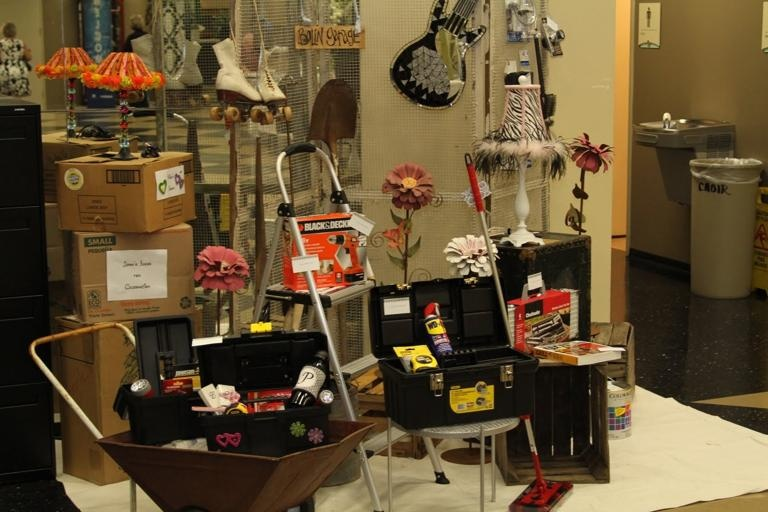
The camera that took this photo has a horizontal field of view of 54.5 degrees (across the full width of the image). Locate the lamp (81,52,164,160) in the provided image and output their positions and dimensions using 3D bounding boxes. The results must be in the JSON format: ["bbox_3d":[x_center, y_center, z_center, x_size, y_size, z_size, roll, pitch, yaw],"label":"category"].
[{"bbox_3d":[-1.608,-0.955,4.621,0.526,0.620,0.518,18,21,38],"label":"lamp"}]

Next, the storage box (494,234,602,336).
[{"bbox_3d":[0.950,0.227,4.910,0.733,0.705,0.569,-5,9,-36],"label":"storage box"}]

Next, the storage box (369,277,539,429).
[{"bbox_3d":[0.357,0.496,3.999,0.803,0.659,0.593,-6,12,-8],"label":"storage box"}]

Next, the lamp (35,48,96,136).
[{"bbox_3d":[-2.113,-1.150,5.024,0.430,0.517,0.428,21,24,36],"label":"lamp"}]

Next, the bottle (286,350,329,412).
[{"bbox_3d":[-0.387,0.619,3.722,0.124,0.125,0.337,6,50,7],"label":"bottle"}]

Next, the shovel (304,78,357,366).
[{"bbox_3d":[-0.371,-0.705,5.225,0.324,1.206,0.220,-6,37,-15],"label":"shovel"}]
